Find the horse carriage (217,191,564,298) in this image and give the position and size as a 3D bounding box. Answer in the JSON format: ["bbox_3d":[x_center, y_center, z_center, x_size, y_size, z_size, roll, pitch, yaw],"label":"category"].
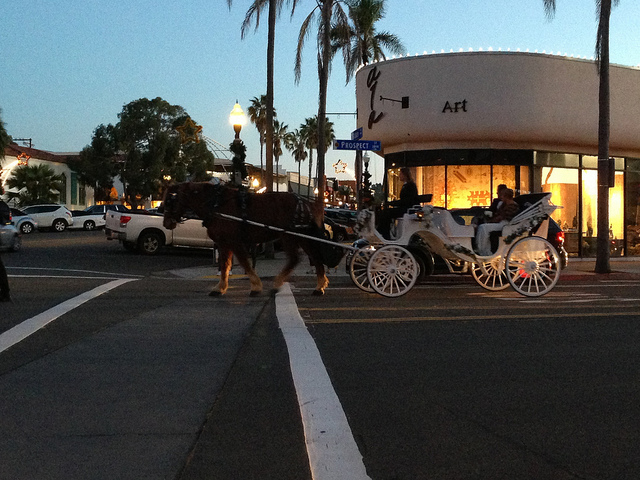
[{"bbox_3d":[1.493,0.191,12.721,6.687,2.563,2.199,3,-4,-9],"label":"horse carriage"}]

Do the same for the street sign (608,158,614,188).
[{"bbox_3d":[8.638,-1.980,17.732,0.099,0.849,0.457,2,4,33],"label":"street sign"}]

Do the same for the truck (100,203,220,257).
[{"bbox_3d":[-5.156,-0.215,19.287,3.702,1.603,2.013,-1,2,-14],"label":"truck"}]

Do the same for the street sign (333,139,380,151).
[{"bbox_3d":[1.005,-2.431,15.376,1.242,0.270,0.693,-2,4,-23],"label":"street sign"}]

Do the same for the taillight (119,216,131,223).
[{"bbox_3d":[-6.879,-0.709,21.108,0.411,0.251,0.251,0,-4,41],"label":"taillight"}]

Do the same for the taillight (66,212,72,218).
[{"bbox_3d":[-17.454,-1.762,41.612,0.164,0.316,0.687,-1,4,-9],"label":"taillight"}]

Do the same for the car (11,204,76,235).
[{"bbox_3d":[-18.800,-1.898,41.076,4.145,2.002,2.334,-4,28,-6],"label":"car"}]

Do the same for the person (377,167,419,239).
[{"bbox_3d":[1.602,-0.746,12.236,0.835,1.432,0.619,0,4,9],"label":"person"}]

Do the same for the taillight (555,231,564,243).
[{"bbox_3d":[5.853,-0.070,14.598,0.170,0.266,0.091,0,-5,-20],"label":"taillight"}]

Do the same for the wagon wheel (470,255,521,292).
[{"bbox_3d":[3.622,0.684,12.461,0.863,0.795,0.854,0,4,0],"label":"wagon wheel"}]

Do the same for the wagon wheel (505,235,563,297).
[{"bbox_3d":[4.252,0.527,11.971,1.084,1.218,0.110,-7,4,9],"label":"wagon wheel"}]

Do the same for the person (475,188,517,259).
[{"bbox_3d":[3.539,-0.336,12.115,0.852,1.379,0.694,0,4,5],"label":"person"}]

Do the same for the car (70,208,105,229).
[{"bbox_3d":[-17.322,-1.531,44.624,2.737,1.290,1.600,-2,4,-21],"label":"car"}]
